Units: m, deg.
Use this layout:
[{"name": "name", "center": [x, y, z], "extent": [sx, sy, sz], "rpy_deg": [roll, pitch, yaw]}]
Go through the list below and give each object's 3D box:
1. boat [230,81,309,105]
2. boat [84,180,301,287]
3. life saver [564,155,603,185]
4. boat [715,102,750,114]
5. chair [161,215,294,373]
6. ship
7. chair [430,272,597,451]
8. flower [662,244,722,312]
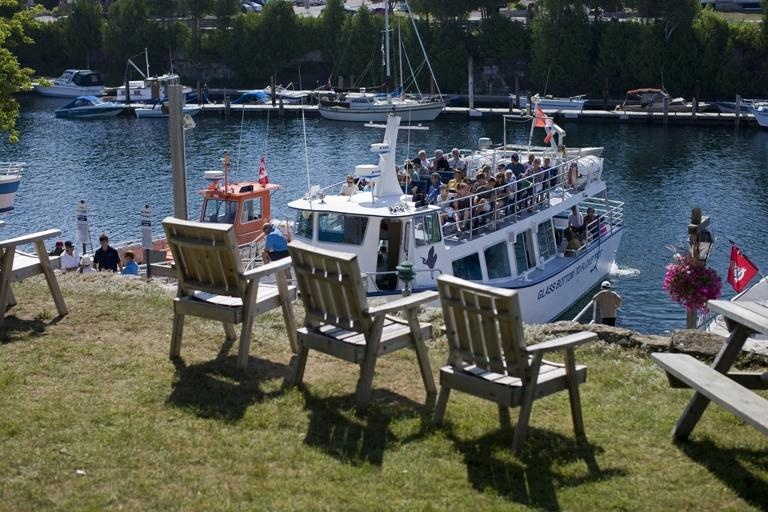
[{"name": "boat", "center": [-12.149, -17.491, 82.887], "extent": [7.964, 1.740, 17.115], "rpy_deg": [-2, 16, -7]}, {"name": "boat", "center": [-5.038, -1.127, 23.472], "extent": [3.309, 3.043, 6.297], "rpy_deg": [7, 17, 30]}, {"name": "life saver", "center": [6.041, -2.621, 23.347], "extent": [1.186, 0.924, 0.487], "rpy_deg": [-11, 16, -37]}, {"name": "boat", "center": [31.092, -13.154, 68.616], "extent": [3.594, 1.130, 1.218], "rpy_deg": [6, 13, 23]}, {"name": "chair", "center": [-2.385, 0.381, 11.452], "extent": [1.415, 2.688, 3.005], "rpy_deg": [1, -1, -1]}, {"name": "ship", "center": [2.810, -1.792, 22.602], "extent": [4.549, 6.386, 12.904], "rpy_deg": [13, 22, 36]}, {"name": "chair", "center": [1.696, 1.349, 10.458], "extent": [1.695, 2.238, 1.867], "rpy_deg": [-6, 10, -28]}, {"name": "flower", "center": [6.195, 0.493, 15.288], "extent": [0.992, 1.028, 1.129], "rpy_deg": [-6, 29, 3]}]
